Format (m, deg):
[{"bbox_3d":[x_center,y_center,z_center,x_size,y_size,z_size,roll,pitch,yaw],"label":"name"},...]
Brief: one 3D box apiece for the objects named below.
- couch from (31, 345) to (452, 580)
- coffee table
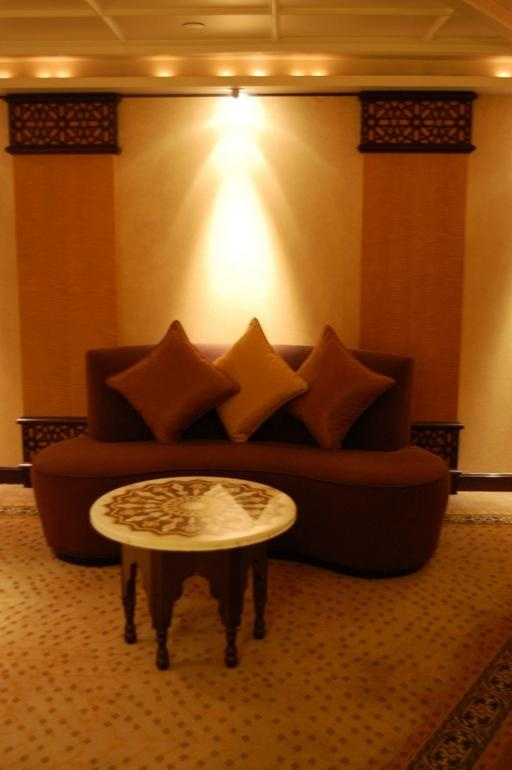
[{"bbox_3d":[-0.060,0.312,3.057,1.859,0.823,0.826,1,10,10],"label":"couch"},{"bbox_3d":[-0.202,0.605,2.151,0.673,0.417,0.625,1,6,-13],"label":"coffee table"}]
